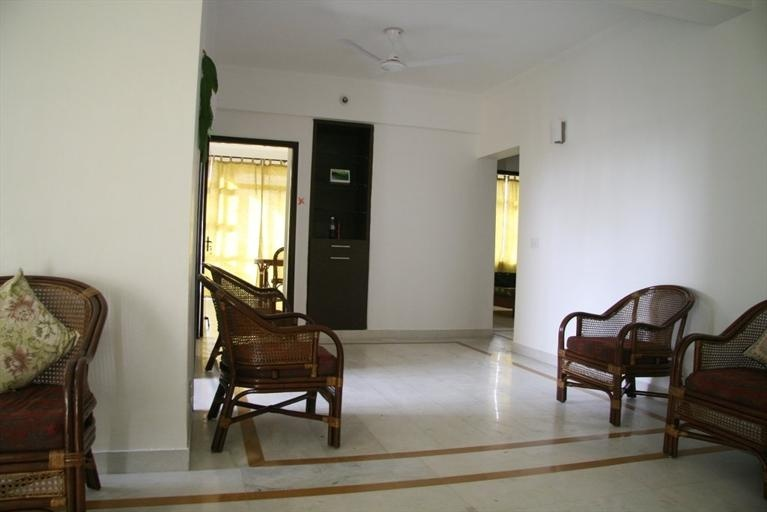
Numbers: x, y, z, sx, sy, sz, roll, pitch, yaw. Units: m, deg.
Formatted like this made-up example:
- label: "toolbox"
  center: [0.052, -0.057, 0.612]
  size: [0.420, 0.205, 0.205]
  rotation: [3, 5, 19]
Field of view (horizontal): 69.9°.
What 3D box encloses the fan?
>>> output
- label: "fan"
  center: [0.116, -2.133, 5.816]
  size: [0.687, 0.254, 0.717]
  rotation: [-2, 8, -18]
